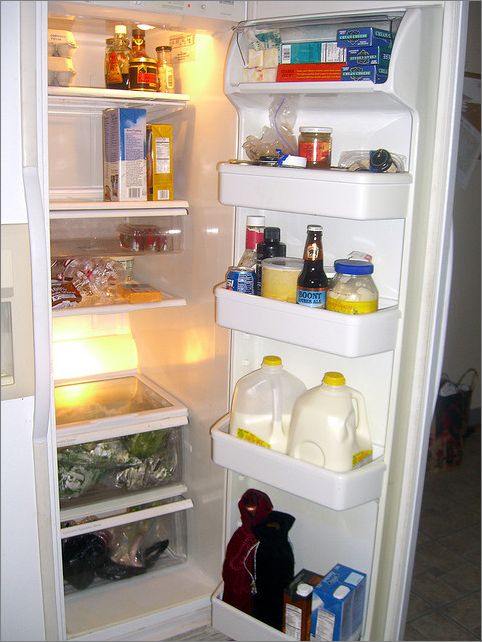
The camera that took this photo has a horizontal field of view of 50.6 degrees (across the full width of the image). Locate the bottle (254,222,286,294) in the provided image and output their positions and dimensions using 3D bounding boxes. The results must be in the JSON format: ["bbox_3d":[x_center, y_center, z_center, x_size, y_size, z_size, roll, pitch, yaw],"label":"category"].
[{"bbox_3d":[0.069,-0.143,1.183,0.068,0.149,0.135,1,17,2],"label":"bottle"}]

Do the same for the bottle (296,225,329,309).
[{"bbox_3d":[0.144,-0.110,1.012,0.060,0.154,0.146,2,18,6],"label":"bottle"}]

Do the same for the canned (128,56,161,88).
[{"bbox_3d":[-0.259,-0.658,1.361,0.078,0.084,0.079,-4,27,-18],"label":"canned"}]

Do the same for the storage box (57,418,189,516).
[{"bbox_3d":[-0.331,0.514,1.723,0.475,0.364,0.277,-15,59,15],"label":"storage box"}]

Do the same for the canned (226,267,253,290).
[{"bbox_3d":[-0.001,-0.096,1.136,0.051,0.058,0.051,8,8,43],"label":"canned"}]

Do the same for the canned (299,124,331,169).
[{"bbox_3d":[0.146,-0.338,0.996,0.066,0.077,0.079,2,18,6],"label":"canned"}]
